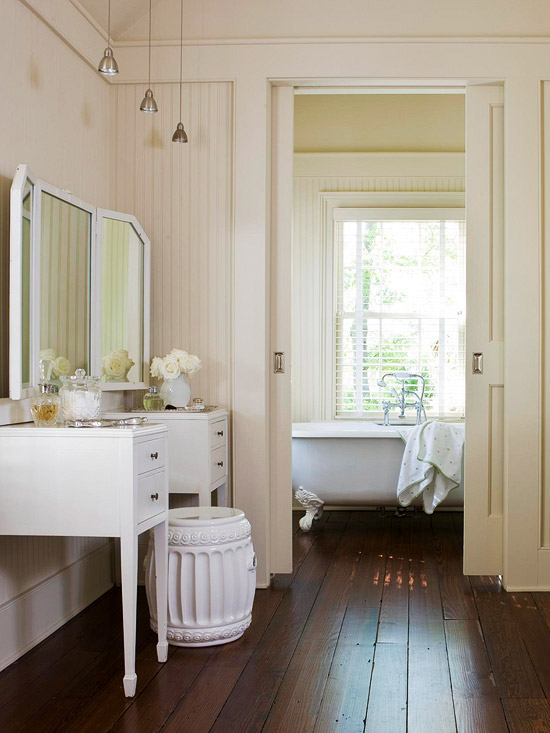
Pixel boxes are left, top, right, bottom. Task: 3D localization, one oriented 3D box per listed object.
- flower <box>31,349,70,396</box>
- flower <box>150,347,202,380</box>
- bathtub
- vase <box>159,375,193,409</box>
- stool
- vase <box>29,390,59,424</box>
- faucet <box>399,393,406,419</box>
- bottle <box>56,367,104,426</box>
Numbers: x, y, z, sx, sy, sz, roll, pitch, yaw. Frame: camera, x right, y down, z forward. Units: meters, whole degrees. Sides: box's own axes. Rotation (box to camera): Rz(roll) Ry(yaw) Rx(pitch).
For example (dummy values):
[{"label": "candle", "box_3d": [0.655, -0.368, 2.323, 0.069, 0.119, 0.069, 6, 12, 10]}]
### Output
[{"label": "flower", "box_3d": [-0.670, 0.015, 1.987, 0.113, 0.168, 0.150, 2, 1, 0]}, {"label": "flower", "box_3d": [-0.417, -0.006, 2.631, 0.173, 0.134, 0.167, 3, -5, -29]}, {"label": "bathtub", "box_3d": [0.601, 0.645, 3.814, 1.002, 0.646, 0.294, 0, -4, 12]}, {"label": "vase", "box_3d": [-0.388, 0.102, 2.652, 0.124, 0.189, 0.121, 1, -2, -3]}, {"label": "stool", "box_3d": [-0.237, 0.659, 2.168, 0.354, 0.401, 0.370, -1, -1, 26]}, {"label": "vase", "box_3d": [-0.623, 0.108, 1.730, 0.077, 0.108, 0.077, -1, 0, -4]}, {"label": "faucet", "box_3d": [0.917, 0.289, 4.632, 0.051, 0.190, 0.144, 0, -4, 11]}, {"label": "bottle", "box_3d": [-0.526, 0.088, 1.836, 0.125, 0.194, 0.132, 0, -3, 0]}]
